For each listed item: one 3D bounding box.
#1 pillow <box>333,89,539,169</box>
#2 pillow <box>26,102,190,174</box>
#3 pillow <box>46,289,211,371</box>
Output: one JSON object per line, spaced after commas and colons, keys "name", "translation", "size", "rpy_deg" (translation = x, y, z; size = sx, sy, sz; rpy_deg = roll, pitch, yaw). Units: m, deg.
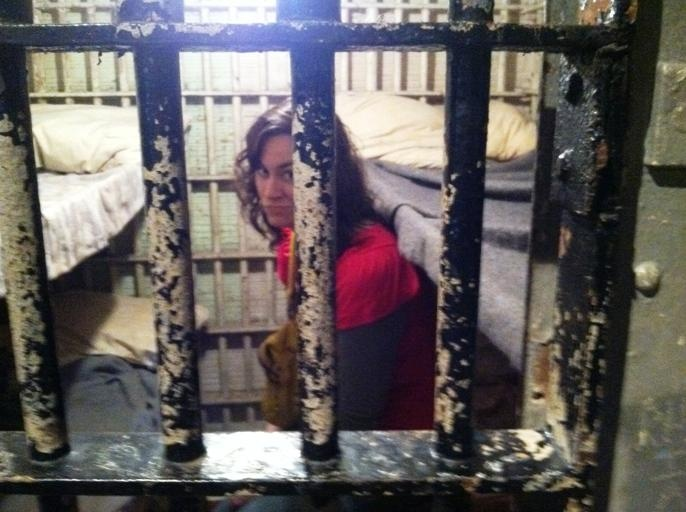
{"name": "pillow", "translation": [0.724, -0.930, 5.658], "size": [1.391, 0.285, 1.200], "rpy_deg": [-3, 23, -34]}
{"name": "pillow", "translation": [-1.765, -0.819, 5.026], "size": [0.704, 0.545, 1.151], "rpy_deg": [-3, 5, -22]}
{"name": "pillow", "translation": [-1.458, 0.448, 4.580], "size": [0.935, 0.206, 0.852], "rpy_deg": [6, 8, 5]}
